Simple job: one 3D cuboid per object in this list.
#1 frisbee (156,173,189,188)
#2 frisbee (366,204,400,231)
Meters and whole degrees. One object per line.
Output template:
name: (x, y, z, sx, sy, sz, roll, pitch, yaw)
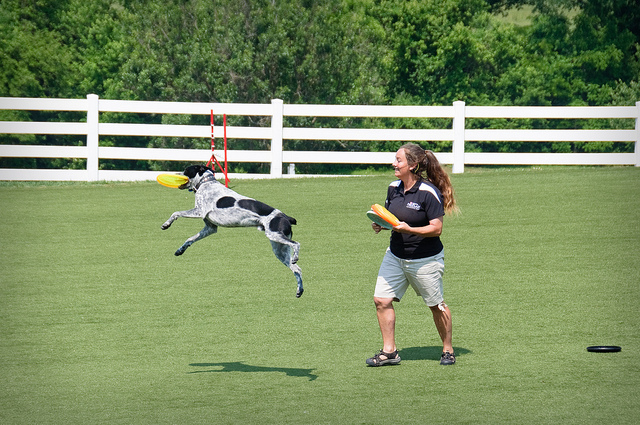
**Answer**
frisbee: (-3.490, -0.641, 28.870, 0.543, 0.084, 0.335, 3, 42, -13)
frisbee: (1.398, 0.134, 28.705, 0.621, 0.610, 0.176, 21, 73, 37)
